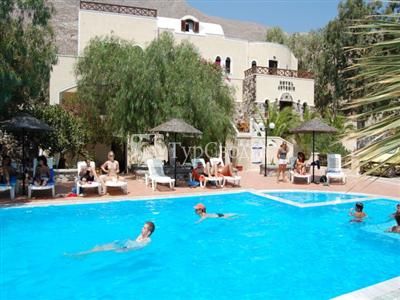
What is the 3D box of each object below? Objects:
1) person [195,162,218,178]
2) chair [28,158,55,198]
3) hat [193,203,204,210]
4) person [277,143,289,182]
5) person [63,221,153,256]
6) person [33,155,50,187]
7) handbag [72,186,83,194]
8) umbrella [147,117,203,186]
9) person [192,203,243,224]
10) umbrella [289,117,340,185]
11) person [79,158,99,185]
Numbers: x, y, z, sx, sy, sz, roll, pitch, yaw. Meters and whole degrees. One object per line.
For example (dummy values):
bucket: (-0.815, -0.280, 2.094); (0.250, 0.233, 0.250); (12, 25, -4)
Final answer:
person: (0.334, 0.877, 17.513); (0.443, 0.648, 1.066); (8, -19, -24)
chair: (-5.853, 1.065, 15.680); (0.698, 1.541, 1.945); (0, -3, -17)
hat: (0.011, 1.872, 13.134); (0.233, 0.122, 0.190); (2, 0, 14)
person: (3.921, 0.582, 19.135); (0.515, 1.536, 1.323); (-2, -2, 12)
person: (-2.289, 2.535, 11.449); (2.070, 0.758, 0.514); (-2, -1, -19)
person: (-5.831, 0.797, 15.032); (0.579, 1.160, 0.672); (-1, -2, -24)
handbag: (-4.710, 1.596, 15.673); (0.209, 0.327, 0.721); (2, -12, -29)
umbrella: (-1.172, 0.203, 17.697); (2.500, 3.344, 2.638); (1, 0, 17)
person: (0.651, 2.190, 13.360); (1.788, 0.880, 0.604); (2, -2, 1)
umbrella: (5.675, 0.043, 20.260); (2.551, 3.909, 2.972); (0, 3, -4)
person: (-4.232, 0.836, 15.526); (0.533, 0.988, 1.533); (5, 2, -22)
